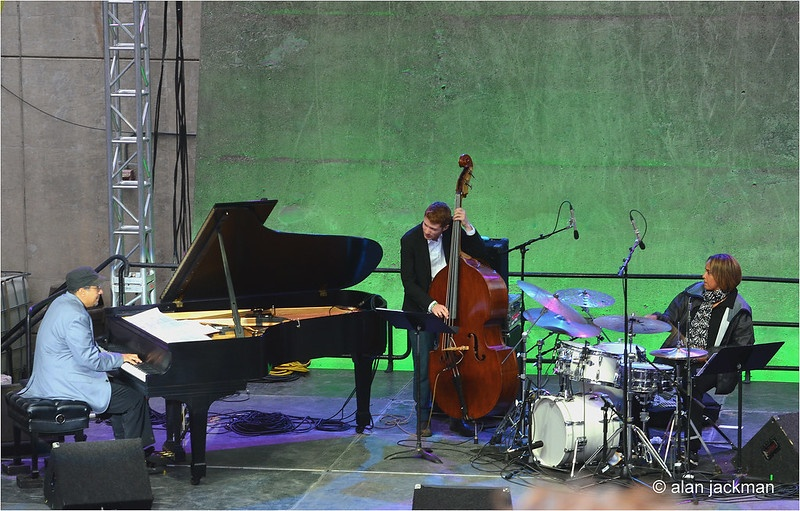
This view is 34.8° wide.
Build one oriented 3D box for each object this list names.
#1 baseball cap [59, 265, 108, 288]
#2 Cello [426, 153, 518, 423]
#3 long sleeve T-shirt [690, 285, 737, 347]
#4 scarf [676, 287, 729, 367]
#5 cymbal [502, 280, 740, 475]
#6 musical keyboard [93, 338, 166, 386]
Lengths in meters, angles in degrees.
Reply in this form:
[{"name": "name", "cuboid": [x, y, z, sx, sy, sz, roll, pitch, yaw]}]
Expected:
[{"name": "baseball cap", "cuboid": [-3.499, 0.231, 14.426, 0.330, 0.151, 0.226, -9, 8, -40]}, {"name": "Cello", "cuboid": [0.875, 0.755, 14.897, 1.025, 2.320, 0.344, 2, 3, 1]}, {"name": "long sleeve T-shirt", "cuboid": [3.552, 0.731, 14.762, 0.447, 0.764, 0.349, -4, -1, 4]}, {"name": "scarf", "cuboid": [3.474, 0.814, 14.731, 0.520, 0.892, 0.363, -3, 0, 7]}, {"name": "cymbal", "cuboid": [2.895, 1.361, 14.545, 2.032, 2.095, 1.121, 0, 3, -36]}, {"name": "musical keyboard", "cuboid": [-2.928, 1.181, 14.299, 0.342, 0.372, 1.157, 0, 2, -34]}]
